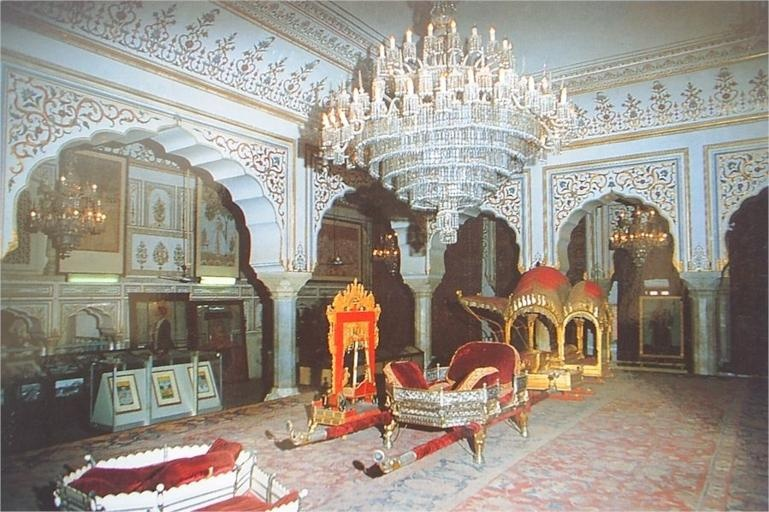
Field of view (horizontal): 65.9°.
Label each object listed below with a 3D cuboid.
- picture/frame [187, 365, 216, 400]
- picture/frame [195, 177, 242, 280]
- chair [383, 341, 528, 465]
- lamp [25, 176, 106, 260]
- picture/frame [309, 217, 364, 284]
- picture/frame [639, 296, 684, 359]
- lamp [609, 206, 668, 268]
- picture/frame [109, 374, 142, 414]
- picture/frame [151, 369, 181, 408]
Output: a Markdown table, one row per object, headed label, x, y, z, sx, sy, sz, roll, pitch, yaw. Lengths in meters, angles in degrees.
| label | x | y | z | sx | sy | sz | roll | pitch | yaw |
| --- | --- | --- | --- | --- | --- | --- | --- | --- | --- |
| picture/frame | -2.443 | 1.688 | 7.843 | 0.029 | 0.348 | 0.413 | -14 | -23 | 26 |
| picture/frame | -3.080 | -0.455 | 10.843 | 0.926 | 1.687 | 0.425 | -5 | 8 | -33 |
| chair | 0.841 | 1.573 | 6.635 | 0.966 | 0.800 | 1.654 | -2 | -2 | 39 |
| lamp | -4.672 | -0.545 | 8.764 | 0.911 | 1.239 | 0.985 | -5 | 8 | -33 |
| picture/frame | -1.022 | -0.123 | 12.043 | 0.109 | 1.032 | 1.466 | -1 | -3 | 25 |
| picture/frame | 5.313 | 1.420 | 11.409 | 1.119 | 1.533 | 0.106 | -7 | -16 | 42 |
| lamp | 5.387 | -0.379 | 12.560 | 1.188 | 1.468 | 1.145 | 1 | -2 | 19 |
| picture/frame | -3.154 | 1.681 | 7.243 | 0.307 | 0.440 | 0.167 | -6 | 8 | -37 |
| picture/frame | -2.777 | 1.679 | 7.554 | 0.314 | 0.437 | 0.181 | -5 | 8 | -31 |
